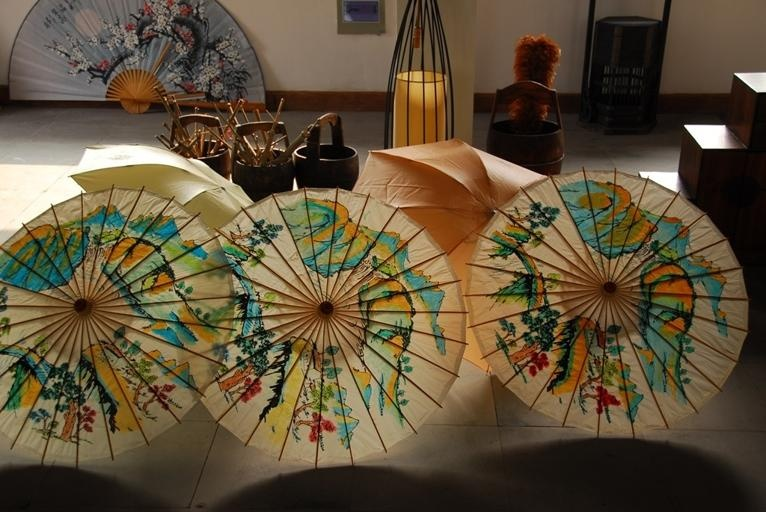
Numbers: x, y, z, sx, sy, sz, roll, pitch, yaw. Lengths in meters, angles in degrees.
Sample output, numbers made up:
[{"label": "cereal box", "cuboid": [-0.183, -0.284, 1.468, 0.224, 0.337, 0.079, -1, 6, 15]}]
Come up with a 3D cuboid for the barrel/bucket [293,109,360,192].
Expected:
[{"label": "barrel/bucket", "cuboid": [-0.283, -0.515, 2.686, 0.336, 0.346, 0.366, 0, 15, 0]}]

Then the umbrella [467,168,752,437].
[{"label": "umbrella", "cuboid": [0.769, 0.148, 1.889, 0.944, 0.824, 0.338, 2, 15, 7]}]
